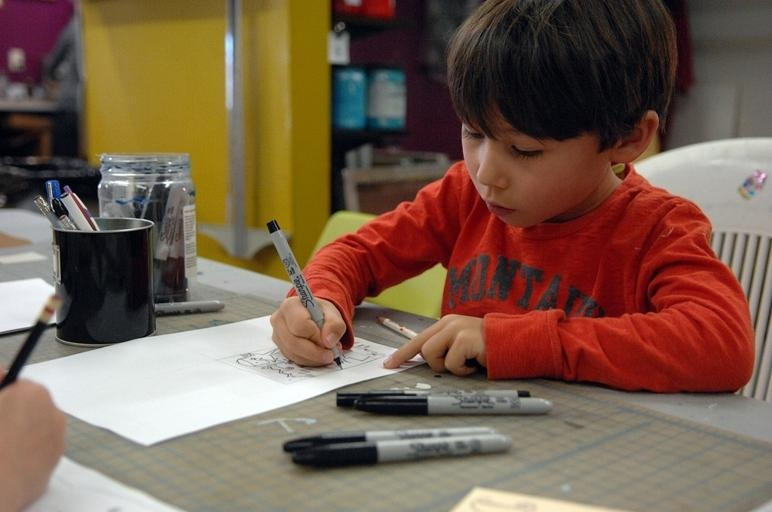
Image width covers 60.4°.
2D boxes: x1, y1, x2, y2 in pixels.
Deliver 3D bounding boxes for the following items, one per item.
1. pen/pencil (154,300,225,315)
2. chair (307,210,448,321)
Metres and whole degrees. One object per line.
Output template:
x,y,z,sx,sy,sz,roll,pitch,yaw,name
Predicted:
-0.319,0.085,1.064,0.086,0.019,0.016,-2,31,-18,pen/pencil
0.049,0.009,1.306,0.145,0.157,0.132,-20,5,-15,chair
